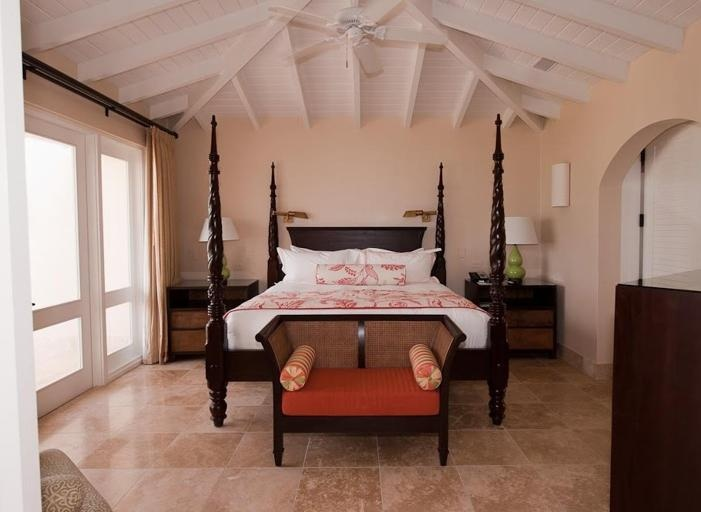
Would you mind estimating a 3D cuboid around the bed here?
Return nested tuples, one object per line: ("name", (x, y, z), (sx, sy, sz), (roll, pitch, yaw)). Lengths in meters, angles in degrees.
("bed", (0.111, 0.389, 5.548), (2.560, 1.921, 3.359), (0, 2, 5))

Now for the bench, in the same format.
("bench", (0.072, 0.907, 3.890), (1.362, 0.898, 0.699), (0, 12, 0))

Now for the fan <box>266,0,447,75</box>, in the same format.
("fan", (0.027, -1.495, 3.790), (1.175, 0.325, 0.655), (-2, 12, -10))

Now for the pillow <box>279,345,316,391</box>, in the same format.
("pillow", (-0.359, 0.692, 3.712), (0.174, 0.173, 0.417), (-1, 8, 5))

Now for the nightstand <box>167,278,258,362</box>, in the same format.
("nightstand", (-1.445, 0.565, 5.958), (0.958, 0.951, 0.734), (-1, 3, -5))

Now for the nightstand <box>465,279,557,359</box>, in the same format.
("nightstand", (1.725, 0.639, 5.978), (0.742, 0.832, 0.873), (-1, 3, 3))
